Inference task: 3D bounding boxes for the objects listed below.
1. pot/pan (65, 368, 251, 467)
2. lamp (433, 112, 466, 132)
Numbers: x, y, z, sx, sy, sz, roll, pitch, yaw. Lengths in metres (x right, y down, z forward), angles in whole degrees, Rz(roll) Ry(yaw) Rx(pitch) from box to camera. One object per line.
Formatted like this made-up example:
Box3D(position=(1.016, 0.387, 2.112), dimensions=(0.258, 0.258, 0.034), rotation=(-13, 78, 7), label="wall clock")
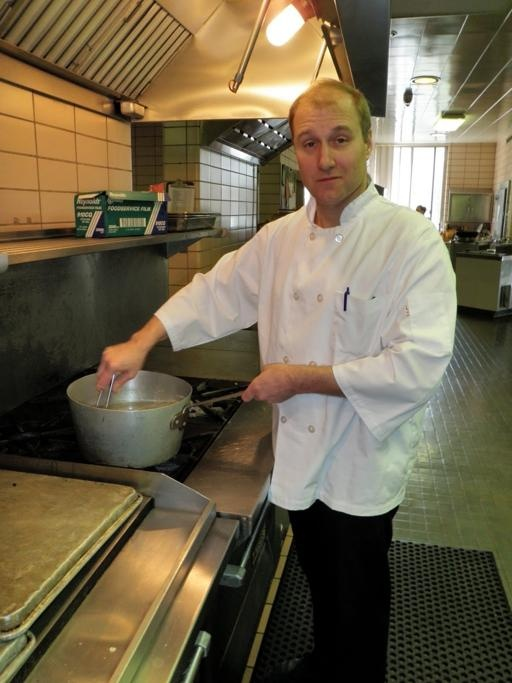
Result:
Box3D(position=(-0.230, 0.133, 1.081), dimensions=(0.416, 0.129, 0.210), rotation=(3, 6, -7), label="pot/pan")
Box3D(position=(3.394, -3.879, 8.769), dimensions=(0.377, 0.123, 0.647), rotation=(0, 5, -1), label="lamp")
